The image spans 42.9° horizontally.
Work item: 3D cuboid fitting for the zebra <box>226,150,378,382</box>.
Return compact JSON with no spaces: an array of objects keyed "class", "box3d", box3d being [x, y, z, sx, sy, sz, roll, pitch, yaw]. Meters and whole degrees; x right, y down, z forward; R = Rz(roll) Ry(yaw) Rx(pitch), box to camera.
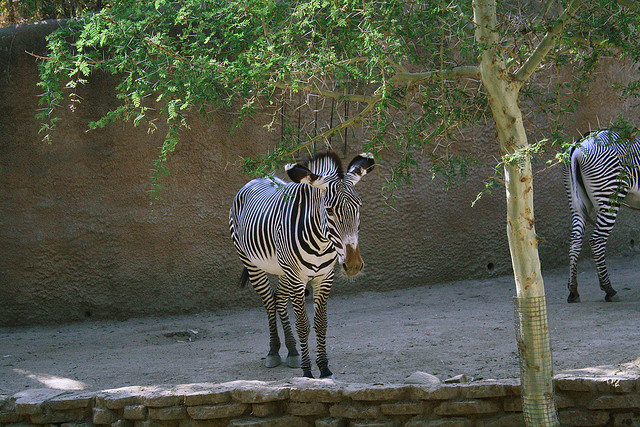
[{"class":"zebra","box3d":[-0.370,0.552,9.397,1.003,2.508,3.744,-2,2,-21]}]
